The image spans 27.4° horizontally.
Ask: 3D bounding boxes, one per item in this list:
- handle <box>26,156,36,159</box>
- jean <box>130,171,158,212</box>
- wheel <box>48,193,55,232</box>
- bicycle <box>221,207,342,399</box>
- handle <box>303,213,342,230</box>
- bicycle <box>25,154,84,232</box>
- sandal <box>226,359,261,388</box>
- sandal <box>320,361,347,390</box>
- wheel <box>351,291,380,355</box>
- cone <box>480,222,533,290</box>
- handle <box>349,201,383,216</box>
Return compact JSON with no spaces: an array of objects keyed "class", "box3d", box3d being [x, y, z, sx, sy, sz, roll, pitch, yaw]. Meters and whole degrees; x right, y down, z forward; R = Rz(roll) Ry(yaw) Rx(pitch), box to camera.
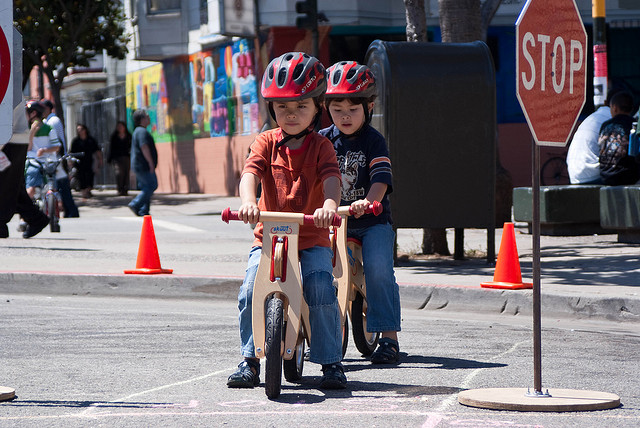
[{"class":"handle","box3d":[-5.133,-0.993,23.332,0.138,0.047,0.120,-2,4,3]},{"class":"jean","box3d":[-3.580,-0.439,26.629,0.512,0.865,1.132,-2,4,-9]},{"class":"wheel","box3d":[-4.778,-0.005,23.330,0.108,0.682,0.434,-2,3,-12]},{"class":"bicycle","box3d":[-0.396,0.954,13.953,0.668,1.985,0.640,-2,3,-5]},{"class":"handle","box3d":[0.010,0.067,13.775,0.446,0.139,0.256,-1,4,12]},{"class":"bicycle","box3d":[-4.798,-0.479,23.809,0.786,0.891,1.360,0,-2,-10]},{"class":"sandal","box3d":[-0.806,1.743,14.242,0.244,0.279,0.608,-4,-3,17]},{"class":"sandal","box3d":[0.136,1.758,14.142,0.223,0.249,0.550,-1,-7,2]},{"class":"wheel","box3d":[0.518,1.230,14.978,0.207,0.733,0.729,0,-14,18]},{"class":"cone","box3d":[2.498,0.575,17.470,0.734,1.091,0.790,0,-5,-3]},{"class":"handle","box3d":[0.497,-0.045,14.103,0.352,0.152,0.145,-17,-24,41]}]
